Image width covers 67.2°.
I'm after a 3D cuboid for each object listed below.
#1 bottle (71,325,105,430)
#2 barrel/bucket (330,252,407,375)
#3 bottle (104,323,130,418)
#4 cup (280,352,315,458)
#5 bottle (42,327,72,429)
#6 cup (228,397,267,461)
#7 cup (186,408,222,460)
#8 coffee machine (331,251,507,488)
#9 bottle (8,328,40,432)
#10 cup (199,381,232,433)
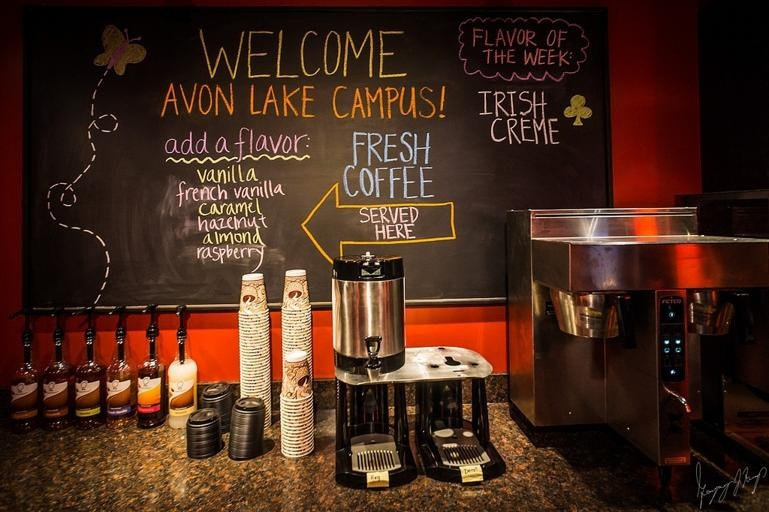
[{"bbox_3d":[-1.431,0.570,2.797,0.143,0.351,0.168,-5,3,-29],"label":"bottle"},{"bbox_3d":[-0.063,0.245,2.641,0.347,0.515,0.487,-2,10,-6],"label":"barrel/bucket"},{"bbox_3d":[-1.286,0.553,2.799,0.128,0.334,0.172,-4,3,-20],"label":"bottle"},{"bbox_3d":[-0.402,0.657,2.582,0.163,0.467,0.116,-3,3,5],"label":"cup"},{"bbox_3d":[-1.588,0.566,2.794,0.142,0.383,0.179,-4,3,-20],"label":"bottle"},{"bbox_3d":[-0.616,0.765,2.581,0.167,0.263,0.117,-4,3,-22],"label":"cup"},{"bbox_3d":[-0.796,0.784,2.572,0.186,0.196,0.181,0,-2,0],"label":"cup"},{"bbox_3d":[0.060,0.466,2.862,0.946,1.126,0.920,-1,3,-6],"label":"coffee machine"},{"bbox_3d":[-1.709,0.588,2.739,0.121,0.387,0.081,-5,3,-34],"label":"bottle"},{"bbox_3d":[-0.770,0.702,2.717,0.197,0.203,0.193,-1,4,0],"label":"cup"}]
